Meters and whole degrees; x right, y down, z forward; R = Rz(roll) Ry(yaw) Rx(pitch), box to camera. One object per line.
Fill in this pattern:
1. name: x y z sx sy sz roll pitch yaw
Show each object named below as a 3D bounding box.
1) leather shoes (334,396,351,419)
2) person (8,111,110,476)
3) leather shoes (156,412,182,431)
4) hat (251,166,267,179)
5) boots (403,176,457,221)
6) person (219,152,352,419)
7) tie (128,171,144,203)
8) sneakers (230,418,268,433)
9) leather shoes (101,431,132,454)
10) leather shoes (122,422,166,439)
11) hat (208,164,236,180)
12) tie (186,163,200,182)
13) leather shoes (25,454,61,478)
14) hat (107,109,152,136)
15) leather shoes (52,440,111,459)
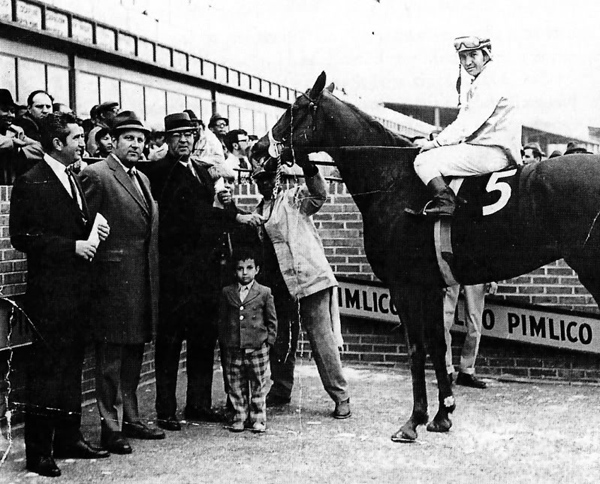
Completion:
1. leather shoes: 0.271 1.113 6.287 0.093 0.095 0.220 -1 -8 6
2. person: -1.478 0.324 5.771 0.548 2.174 0.266 -2 2 -19
3. leather shoes: -0.868 1.185 6.231 0.143 0.148 0.090 -1 4 -1
4. hat: -0.288 -0.484 6.469 0.079 0.036 0.089 3 -31 -35
5. boots: 0.813 -0.276 5.961 0.327 0.249 0.142 -1 2 4
6. person: -0.094 0.260 6.566 0.707 1.806 0.637 -3 2 25
7. tie: -1.051 -0.351 6.071 0.044 0.321 0.037 -12 -40 -9
8. sneakers: -0.341 1.193 6.147 0.249 0.106 0.087 1 -7 7
9. leather shoes: -1.156 1.260 5.915 0.237 0.100 0.090 2 3 26
10. leather shoes: -1.013 1.221 6.139 0.289 0.121 0.109 2 10 -3
11. hat: -0.583 -0.507 6.915 0.095 0.065 0.157 -25 -19 37
12. tie: -0.724 -0.473 6.379 0.011 0.165 0.054 -39 -20 31
13. leather shoes: -1.537 1.354 5.668 0.211 0.162 0.100 3 3 -3
14. hat: -1.091 -0.755 6.038 0.239 0.151 0.170 -2 3 -13
15. leather shoes: -1.358 1.300 5.901 0.387 0.165 0.122 0 0 -9
